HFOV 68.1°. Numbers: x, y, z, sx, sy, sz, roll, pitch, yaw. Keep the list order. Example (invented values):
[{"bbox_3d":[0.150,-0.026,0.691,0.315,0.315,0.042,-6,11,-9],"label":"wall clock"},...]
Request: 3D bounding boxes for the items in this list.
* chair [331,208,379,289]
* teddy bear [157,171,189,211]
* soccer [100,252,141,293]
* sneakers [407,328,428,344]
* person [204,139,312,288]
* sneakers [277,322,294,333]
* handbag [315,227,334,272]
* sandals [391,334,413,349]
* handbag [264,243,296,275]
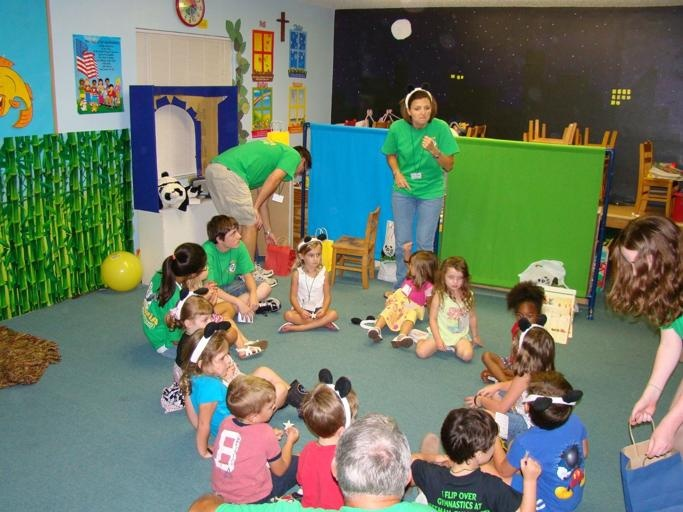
[{"bbox_3d":[0.168,-0.132,6.050,0.552,0.889,0.583,13,17,30],"label":"chair"},{"bbox_3d":[-1.927,-0.724,5.787,0.330,0.398,0.362,-4,16,-21],"label":"teddy bear"},{"bbox_3d":[-2.410,0.171,5.530,0.428,0.414,0.292,-5,16,-22],"label":"soccer"},{"bbox_3d":[0.737,0.746,4.813,0.120,0.051,0.125,15,30,32],"label":"sneakers"},{"bbox_3d":[-0.945,-0.603,6.119,1.333,1.563,0.975,-9,25,-21],"label":"person"},{"bbox_3d":[-0.532,0.682,4.842,0.124,0.074,0.063,-16,-9,-7],"label":"sneakers"},{"bbox_3d":[-0.176,-0.049,5.524,0.182,0.568,0.373,-2,18,7],"label":"handbag"},{"bbox_3d":[0.564,0.794,4.708,0.185,0.094,0.090,-1,28,19],"label":"sandals"},{"bbox_3d":[-0.731,0.055,5.987,0.265,0.334,0.114,14,27,14],"label":"handbag"}]
